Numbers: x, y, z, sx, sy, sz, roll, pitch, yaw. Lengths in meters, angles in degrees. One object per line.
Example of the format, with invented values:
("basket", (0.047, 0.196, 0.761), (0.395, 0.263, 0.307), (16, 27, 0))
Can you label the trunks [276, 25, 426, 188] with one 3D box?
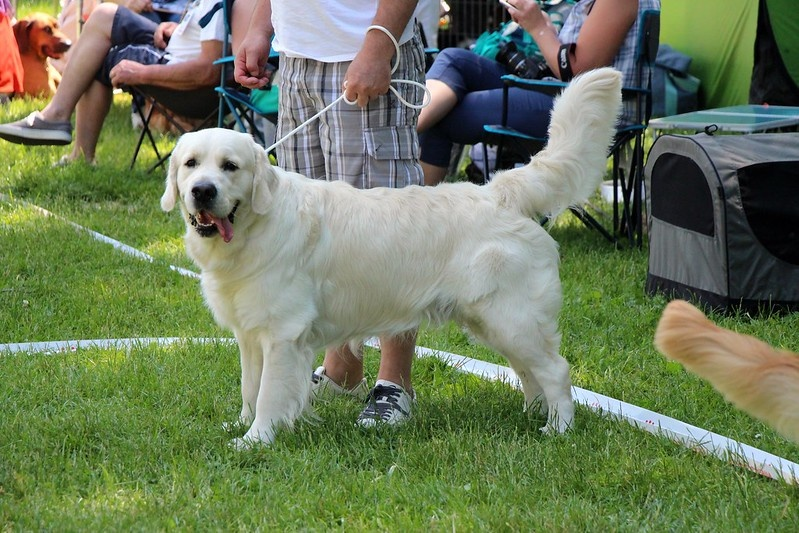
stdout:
("trunks", (-0.275, -0.977, 5.244), (0.933, 1.115, 0.594), (5, 4, 39))

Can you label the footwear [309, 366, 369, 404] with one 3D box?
("footwear", (-0.351, 0.773, 5.664), (0.420, 0.184, 0.149), (10, -7, -19))
